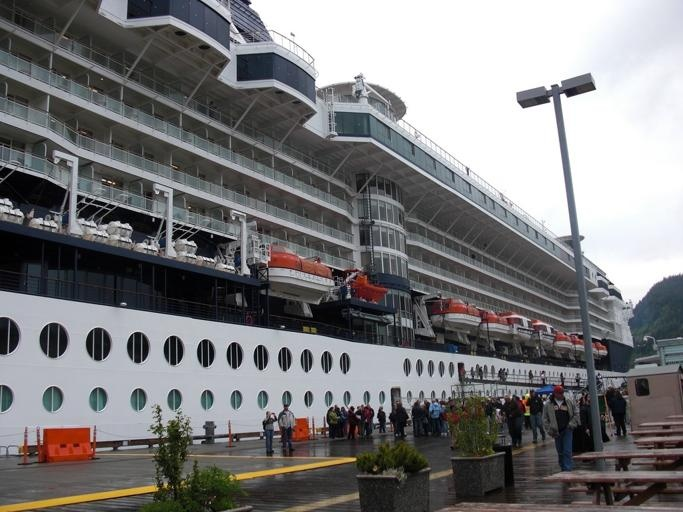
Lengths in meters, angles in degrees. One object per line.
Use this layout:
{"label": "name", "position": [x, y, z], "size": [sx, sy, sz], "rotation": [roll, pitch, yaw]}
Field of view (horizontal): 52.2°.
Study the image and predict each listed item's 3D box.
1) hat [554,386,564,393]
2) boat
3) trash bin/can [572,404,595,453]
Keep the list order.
{"label": "hat", "position": [5.569, 3.384, 17.856], "size": [0.185, 0.149, 0.185], "rotation": [-2, 2, -20]}
{"label": "boat", "position": [6.432, 3.229, 51.237], "size": [4.026, 3.528, 31.459], "rotation": [-23, -33, 34]}
{"label": "trash bin/can", "position": [7.286, 5.095, 20.831], "size": [0.718, 1.522, 0.360], "rotation": [9, -5, -44]}
